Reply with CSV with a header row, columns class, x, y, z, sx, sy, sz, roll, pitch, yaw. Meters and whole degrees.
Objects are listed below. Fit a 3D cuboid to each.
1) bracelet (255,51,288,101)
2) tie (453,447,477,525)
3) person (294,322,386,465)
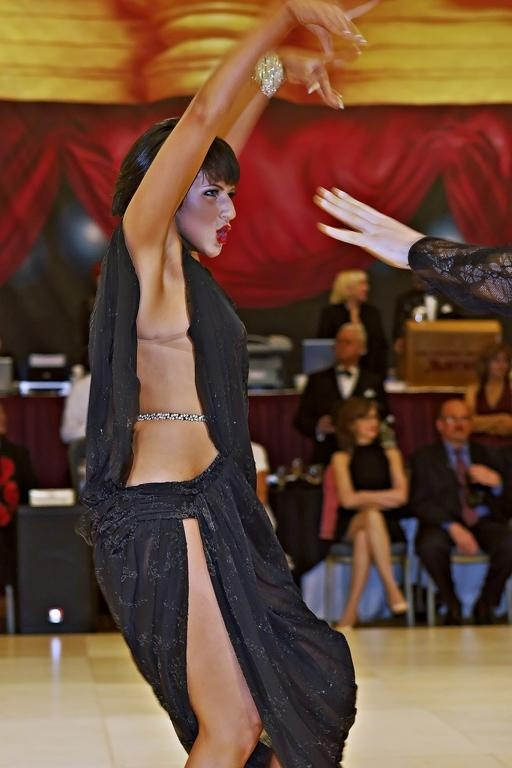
class,x,y,z,sx,sy,sz,roll,pitch,yaw
bracelet,0.032,-0.569,1.499,0.066,0.071,0.029,-10,14,-35
tie,1.001,0.522,3.999,0.082,0.299,0.095,-24,-35,20
person,0.463,0.194,4.328,0.528,0.957,0.345,2,10,21
